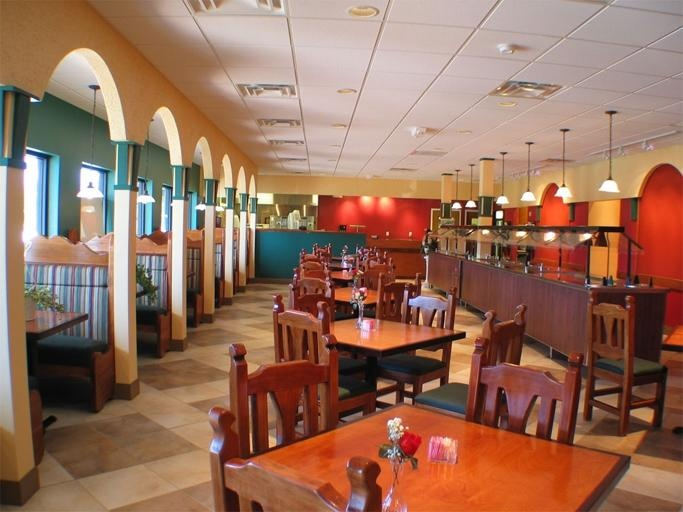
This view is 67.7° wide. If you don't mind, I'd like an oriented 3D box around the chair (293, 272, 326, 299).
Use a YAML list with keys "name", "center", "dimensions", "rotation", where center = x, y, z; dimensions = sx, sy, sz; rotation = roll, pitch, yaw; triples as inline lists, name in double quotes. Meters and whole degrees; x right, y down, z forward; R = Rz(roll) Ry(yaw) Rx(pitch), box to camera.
- name: "chair"
  center: [-0.318, 0.291, 5.016]
  dimensions: [0.194, 0.333, 0.207]
  rotation: [6, 12, 15]

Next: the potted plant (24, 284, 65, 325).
- name: "potted plant"
  center: [-2.686, 0.446, 4.595]
  dimensions: [0.329, 0.328, 0.340]
  rotation: [4, 4, -13]

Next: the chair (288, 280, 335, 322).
- name: "chair"
  center: [-0.297, 0.371, 4.594]
  dimensions: [0.397, 0.534, 0.393]
  rotation: [0, -2, 13]

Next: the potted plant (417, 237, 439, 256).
- name: "potted plant"
  center: [2.387, -0.255, 14.015]
  dimensions: [0.447, 0.813, 0.272]
  rotation: [8, 12, 32]

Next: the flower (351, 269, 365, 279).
- name: "flower"
  center: [0.206, 0.241, 6.789]
  dimensions: [0.126, 0.062, 0.175]
  rotation: [3, 6, 3]
